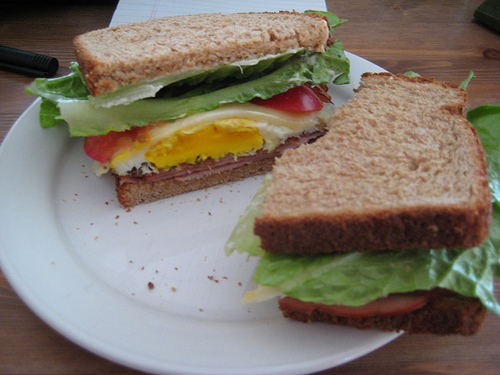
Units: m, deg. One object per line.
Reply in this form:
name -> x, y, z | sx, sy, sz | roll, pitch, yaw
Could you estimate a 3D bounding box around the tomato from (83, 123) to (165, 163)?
tomato -> -0.755, -0.303, 2.531 | 0.407, 0.199, 0.445 | -9, 23, -32
